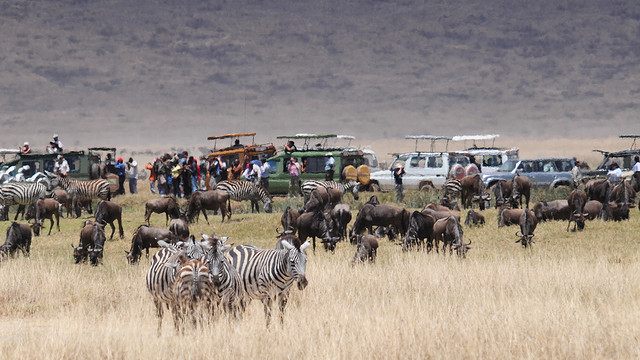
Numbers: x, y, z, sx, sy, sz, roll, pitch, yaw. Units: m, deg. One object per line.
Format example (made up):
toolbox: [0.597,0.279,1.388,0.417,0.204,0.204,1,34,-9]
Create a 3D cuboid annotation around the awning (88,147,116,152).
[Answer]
awning: [-45.515,-6.299,207.385,6.129,0.562,5.867,0,0,-25]
